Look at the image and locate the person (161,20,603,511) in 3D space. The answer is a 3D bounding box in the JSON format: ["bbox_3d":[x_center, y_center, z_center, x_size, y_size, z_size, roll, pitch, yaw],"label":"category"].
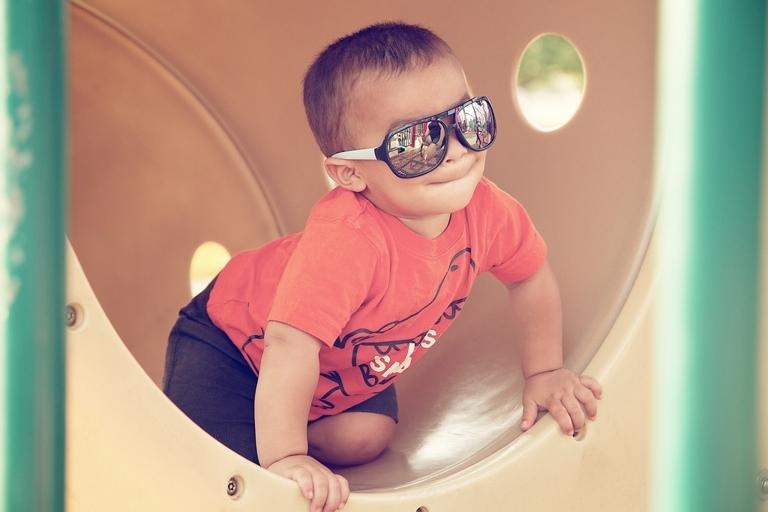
[{"bbox_3d":[0.030,-0.018,1.359,0.685,0.577,0.919,-16,-60,-39],"label":"person"}]
